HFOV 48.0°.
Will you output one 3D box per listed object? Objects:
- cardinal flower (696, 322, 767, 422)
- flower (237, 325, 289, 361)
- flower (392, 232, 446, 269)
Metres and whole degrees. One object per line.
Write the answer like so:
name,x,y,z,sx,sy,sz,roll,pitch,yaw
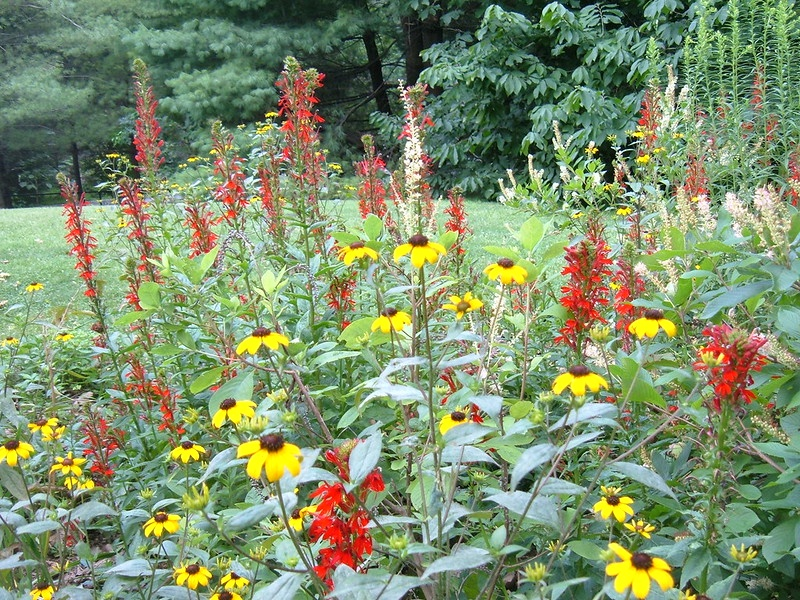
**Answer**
cardinal flower,1.358,0.289,3.701,0.305,0.368,0.287,-5,10,11
flower,-0.582,0.203,3.833,0.156,0.074,0.158,-32,8,-4
flower,0.081,-0.203,3.785,0.218,0.151,0.203,-9,11,-10
